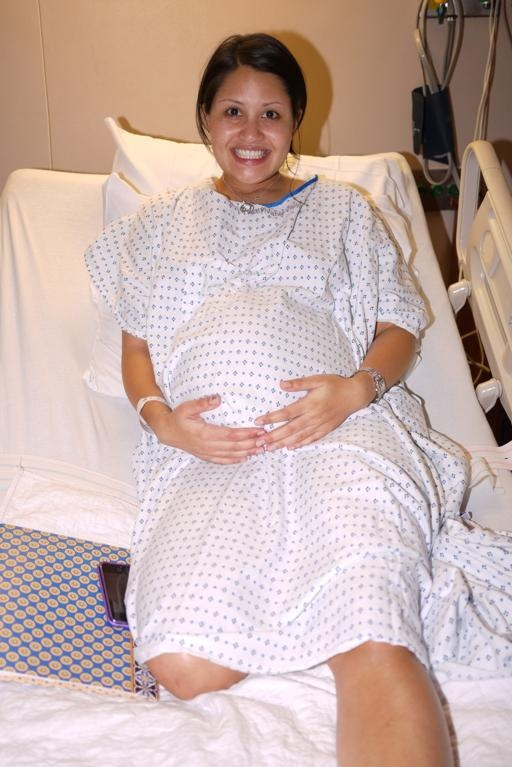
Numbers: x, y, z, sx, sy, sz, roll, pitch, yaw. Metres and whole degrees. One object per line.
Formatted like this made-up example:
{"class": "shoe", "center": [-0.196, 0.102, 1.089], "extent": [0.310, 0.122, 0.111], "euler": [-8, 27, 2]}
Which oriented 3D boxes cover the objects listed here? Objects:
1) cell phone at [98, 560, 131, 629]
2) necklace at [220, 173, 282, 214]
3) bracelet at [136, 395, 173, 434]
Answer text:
{"class": "cell phone", "center": [-0.244, 0.366, 1.049], "extent": [0.067, 0.012, 0.117], "euler": [18, 28, -27]}
{"class": "necklace", "center": [-0.011, -0.434, 1.392], "extent": [0.092, 0.048, 0.125], "euler": [-8, 12, -1]}
{"class": "bracelet", "center": [-0.224, 0.058, 1.303], "extent": [0.072, 0.079, 0.021], "euler": [-23, 11, 0]}
